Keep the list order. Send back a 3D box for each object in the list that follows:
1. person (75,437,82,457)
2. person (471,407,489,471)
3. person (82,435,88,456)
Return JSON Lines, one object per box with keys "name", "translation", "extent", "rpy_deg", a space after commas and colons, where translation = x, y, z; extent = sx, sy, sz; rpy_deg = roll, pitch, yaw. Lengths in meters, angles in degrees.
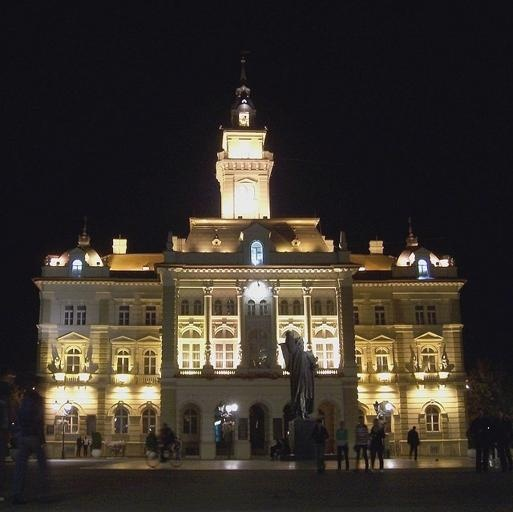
{"name": "person", "translation": [-12.339, 13.249, 58.560], "extent": [0.464, 1.431, 1.786], "rpy_deg": [2, -15, -11]}
{"name": "person", "translation": [8.066, 6.681, 30.126], "extent": [0.656, 1.959, 1.284], "rpy_deg": [-4, -15, 14]}
{"name": "person", "translation": [-11.999, 13.346, 59.183], "extent": [0.378, 1.442, 1.477], "rpy_deg": [2, -15, -11]}
